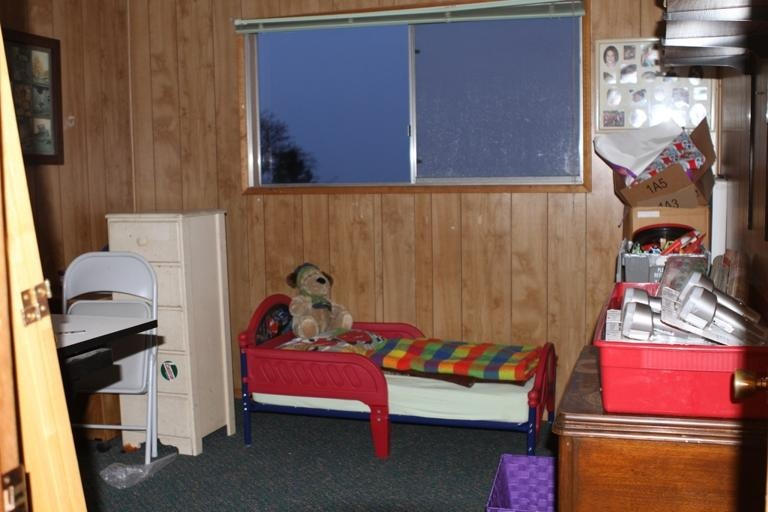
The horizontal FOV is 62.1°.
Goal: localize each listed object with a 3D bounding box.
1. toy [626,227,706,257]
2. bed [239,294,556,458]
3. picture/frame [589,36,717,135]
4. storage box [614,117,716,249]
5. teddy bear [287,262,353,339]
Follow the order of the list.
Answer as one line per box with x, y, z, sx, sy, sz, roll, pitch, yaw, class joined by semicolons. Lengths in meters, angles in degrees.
1.470;-0.083;3.329;0.385;0.140;0.263;3;12;19;toy
0.116;0.500;3.787;1.592;0.778;0.923;3;7;11;bed
1.572;-0.996;3.684;0.700;0.529;0.028;-1;1;7;picture/frame
1.485;-0.464;3.635;0.600;0.872;0.700;1;10;21;storage box
-0.428;0.290;4.212;0.430;0.524;0.377;-2;-6;-10;teddy bear
